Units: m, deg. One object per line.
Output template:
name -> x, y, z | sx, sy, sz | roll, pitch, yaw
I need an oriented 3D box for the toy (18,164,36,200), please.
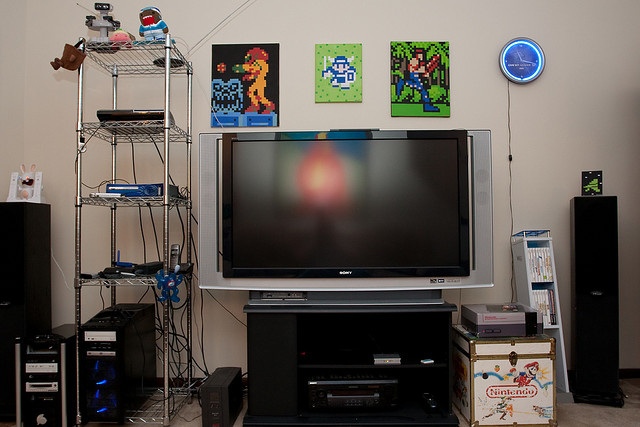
toy -> -2.670, -0.289, 5.771 | 0.148, 0.317, 0.069 | -3, 0, 8

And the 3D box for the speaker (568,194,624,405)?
speaker -> 2.581, 0.778, 5.781 | 0.642, 1.831, 0.596 | 7, -10, -20

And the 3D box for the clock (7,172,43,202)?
clock -> -2.675, -0.241, 5.760 | 0.284, 0.349, 0.114 | 1, -3, -19

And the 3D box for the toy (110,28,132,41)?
toy -> -1.745, -1.566, 5.523 | 0.163, 0.209, 0.076 | -4, -36, -17

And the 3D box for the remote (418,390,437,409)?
remote -> 0.936, 1.604, 5.483 | 0.126, 0.143, 0.229 | -3, 0, 1

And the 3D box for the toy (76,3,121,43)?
toy -> -1.897, -1.681, 5.541 | 0.360, 0.309, 0.350 | 0, 8, -6
